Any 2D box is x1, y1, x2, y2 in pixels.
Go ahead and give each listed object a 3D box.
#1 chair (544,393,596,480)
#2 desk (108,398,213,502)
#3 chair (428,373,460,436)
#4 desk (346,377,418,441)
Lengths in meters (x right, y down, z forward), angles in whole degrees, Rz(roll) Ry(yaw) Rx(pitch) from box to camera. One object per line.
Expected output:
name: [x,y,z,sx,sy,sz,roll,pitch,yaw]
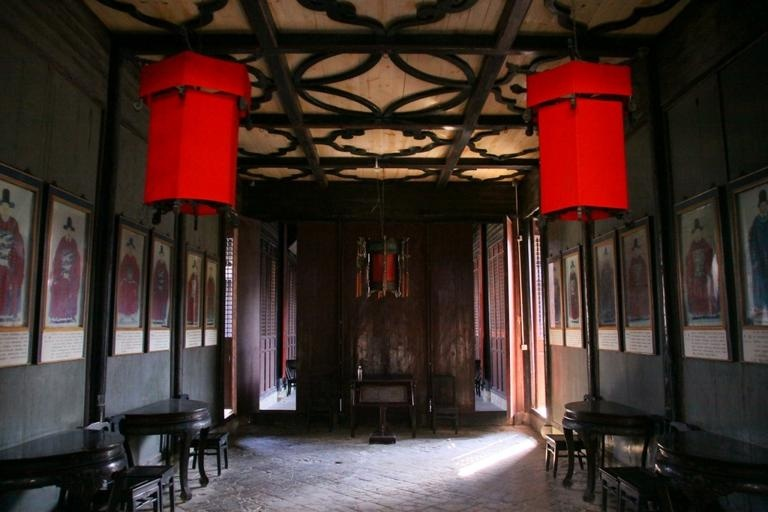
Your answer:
chair: [2.303,2.483,7.732,0.904,0.885,0.719,1,-21,-1]
desk: [-2.543,1.913,6.975,0.907,1.190,1.659,-2,-5,1]
chair: [1.092,2.676,10.524,0.451,0.927,0.540,0,-5,5]
desk: [-0.006,2.643,10.141,1.190,1.088,1.039,2,-12,-2]
